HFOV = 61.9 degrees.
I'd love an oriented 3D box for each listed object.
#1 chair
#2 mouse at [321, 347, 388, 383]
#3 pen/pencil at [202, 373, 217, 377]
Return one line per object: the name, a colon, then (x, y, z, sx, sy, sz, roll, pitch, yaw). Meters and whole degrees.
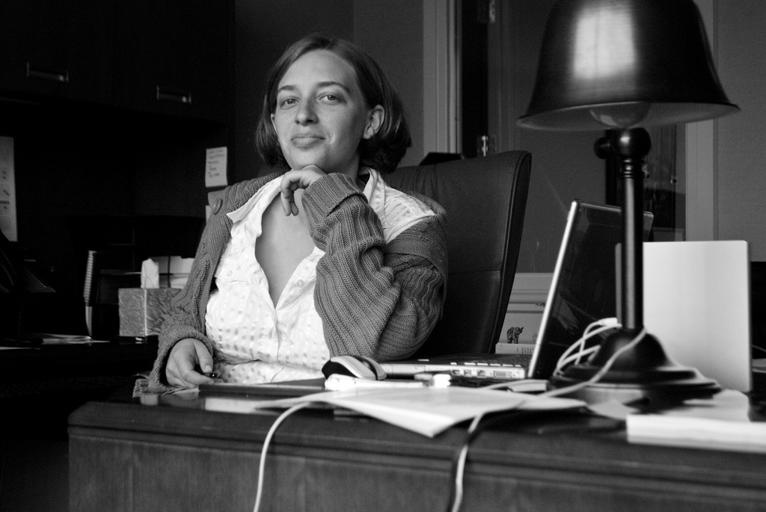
chair: (0.158, 0.013, 1.852, 0.418, 0.579, 0.491, -4, -10, 31)
mouse: (-0.038, 0.154, 0.845, 0.087, 0.032, 0.086, 1, 2, 0)
pen/pencil: (-0.325, 0.227, 1.206, 0.027, 0.006, 0.026, 0, -2, -5)
